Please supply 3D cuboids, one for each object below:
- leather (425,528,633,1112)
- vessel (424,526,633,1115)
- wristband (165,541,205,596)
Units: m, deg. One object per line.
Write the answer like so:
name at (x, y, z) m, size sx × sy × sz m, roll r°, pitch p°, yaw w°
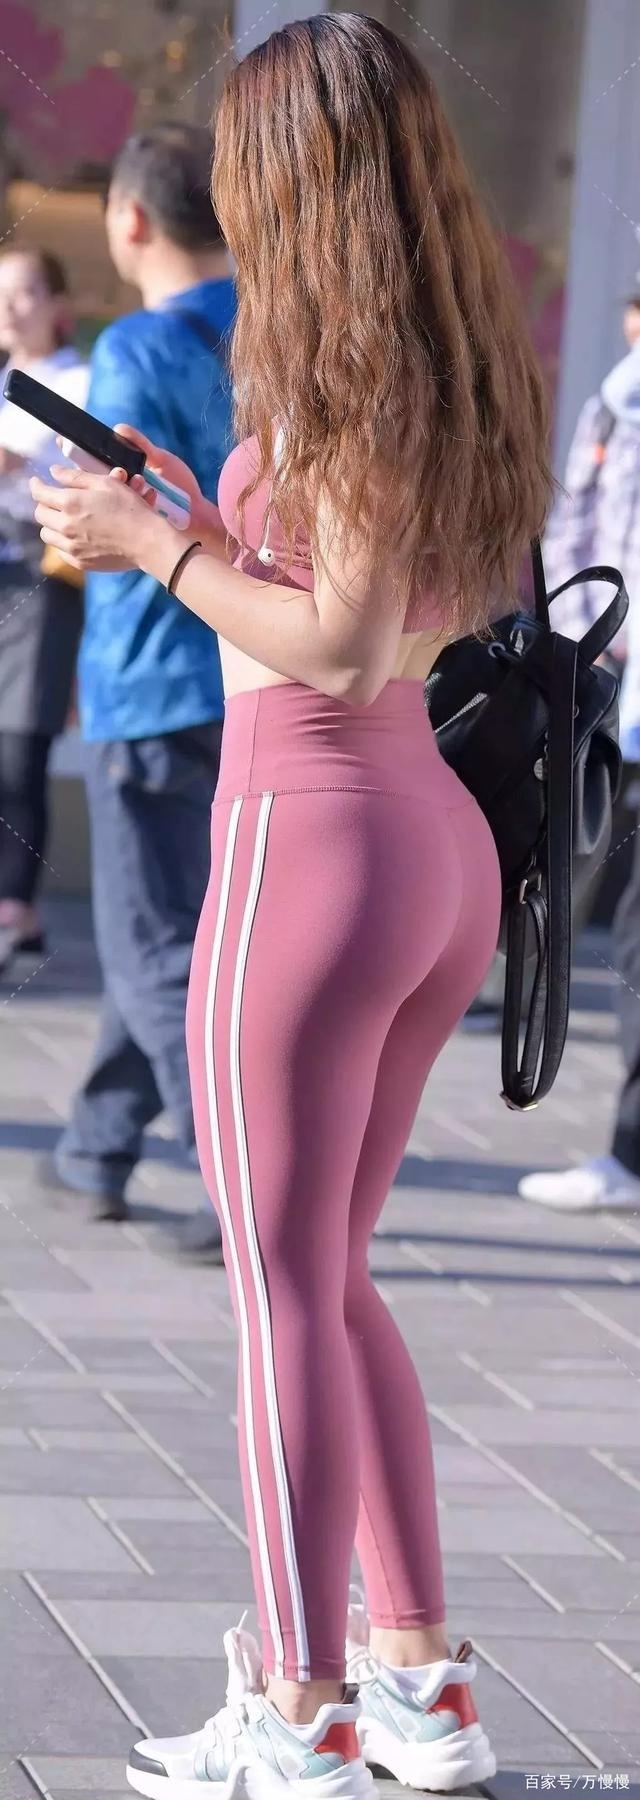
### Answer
leather at (0.228, -0.084, 1.444) m, size 0.155 × 0.609 × 0.147 m, roll 4°, pitch -8°, yaw 8°
vessel at (0.229, -0.082, 1.455) m, size 0.165 × 0.619 × 0.159 m, roll 5°, pitch 6°, yaw 5°
wristband at (-0.120, -0.279, 1.163) m, size 0.008 × 0.041 × 0.038 m, roll 17°, pitch 8°, yaw 1°
